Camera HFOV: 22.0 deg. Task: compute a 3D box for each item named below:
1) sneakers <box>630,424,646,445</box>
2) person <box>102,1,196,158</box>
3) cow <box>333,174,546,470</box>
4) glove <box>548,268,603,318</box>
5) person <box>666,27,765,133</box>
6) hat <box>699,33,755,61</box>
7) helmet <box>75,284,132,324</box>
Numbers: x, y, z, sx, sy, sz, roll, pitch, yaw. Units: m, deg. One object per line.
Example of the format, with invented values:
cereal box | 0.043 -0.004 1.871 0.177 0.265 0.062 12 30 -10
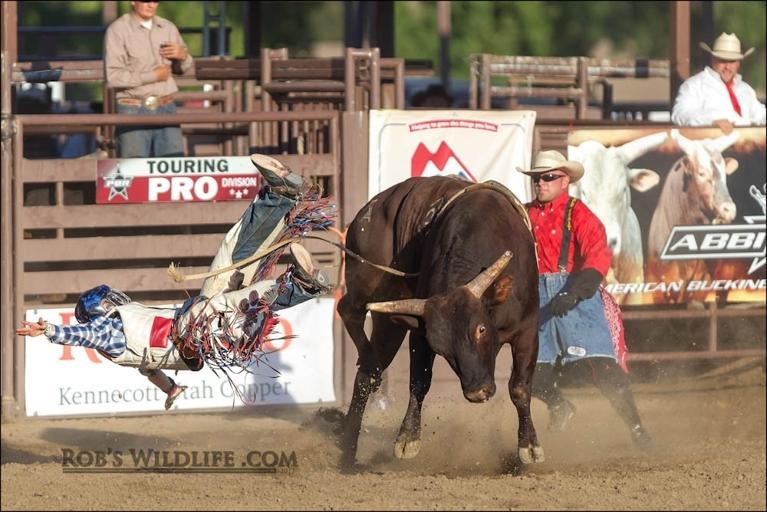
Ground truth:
sneakers | 3.275 2.302 25.368 0.157 0.267 0.067 -24 -18 13
person | -3.220 -2.427 26.832 1.141 2.064 1.066 -8 17 -18
cow | 0.696 0.943 24.666 2.779 3.513 1.860 13 22 42
glove | 2.420 0.478 25.062 0.614 0.192 0.620 -41 2 -25
person | 4.668 -2.446 27.470 1.383 1.241 1.022 -6 17 -11
hat | 4.809 -2.940 27.849 0.573 0.250 0.604 5 3 3
helmet | -3.499 0.608 24.210 0.565 0.528 0.433 -48 -4 -22
